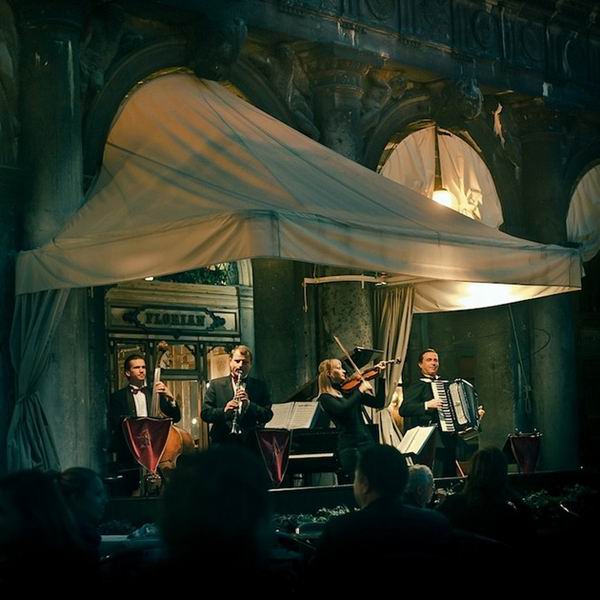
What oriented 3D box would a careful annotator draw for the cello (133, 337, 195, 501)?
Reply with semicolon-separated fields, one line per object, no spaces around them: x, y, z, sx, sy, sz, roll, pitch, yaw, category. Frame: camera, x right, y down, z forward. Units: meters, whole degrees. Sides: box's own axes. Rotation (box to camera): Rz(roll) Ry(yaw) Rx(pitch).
-1.231;0.997;10.625;0.476;1.381;0.395;2;-5;-30;cello

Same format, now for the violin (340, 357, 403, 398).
0.696;0.699;11.293;0.584;0.103;0.231;-29;14;-35;violin

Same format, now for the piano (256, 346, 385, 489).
0.498;1.030;11.178;0.612;1.062;0.688;6;-4;-36;piano

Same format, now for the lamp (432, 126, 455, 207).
1.800;-1.685;15.333;0.261;1.049;0.325;-1;-7;7;lamp
